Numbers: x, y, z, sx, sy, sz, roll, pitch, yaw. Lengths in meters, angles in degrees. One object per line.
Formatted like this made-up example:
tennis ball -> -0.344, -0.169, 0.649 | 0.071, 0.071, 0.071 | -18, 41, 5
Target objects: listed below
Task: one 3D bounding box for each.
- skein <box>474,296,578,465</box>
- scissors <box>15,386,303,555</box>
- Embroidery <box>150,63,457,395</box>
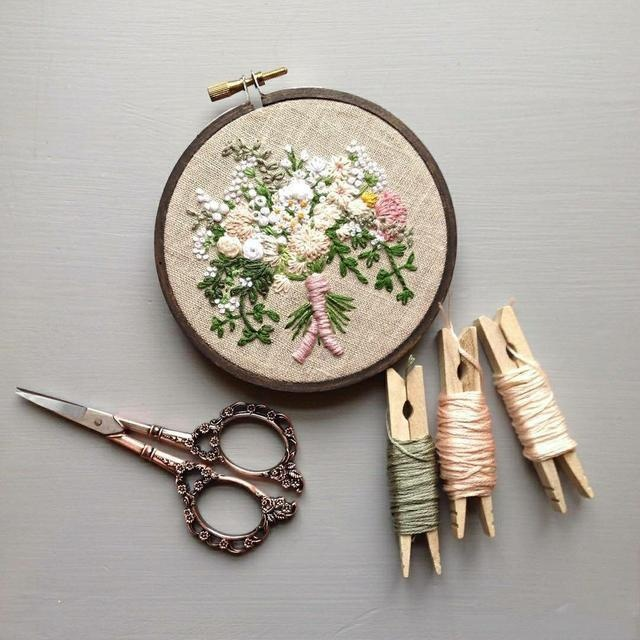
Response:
skein -> 0.319, 0.116, 1.394 | 0.117, 0.267, 0.085 | -20, -1, -25
scissors -> -0.259, 0.224, 1.369 | 0.493, 0.230, 0.193 | 13, -44, -13
Embroidery -> -0.013, -0.112, 1.460 | 0.595, 0.367, 0.589 | 1, -17, 4
